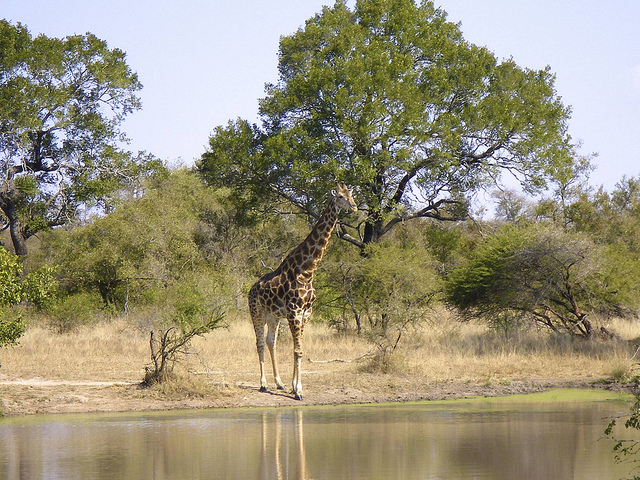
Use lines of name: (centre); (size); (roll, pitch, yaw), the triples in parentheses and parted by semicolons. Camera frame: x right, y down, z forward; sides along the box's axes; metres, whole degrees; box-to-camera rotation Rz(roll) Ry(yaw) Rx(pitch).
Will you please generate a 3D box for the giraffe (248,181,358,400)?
giraffe: (-0.744, 1.458, 29.817); (2.958, 6.322, 1.839); (0, 4, -2)
